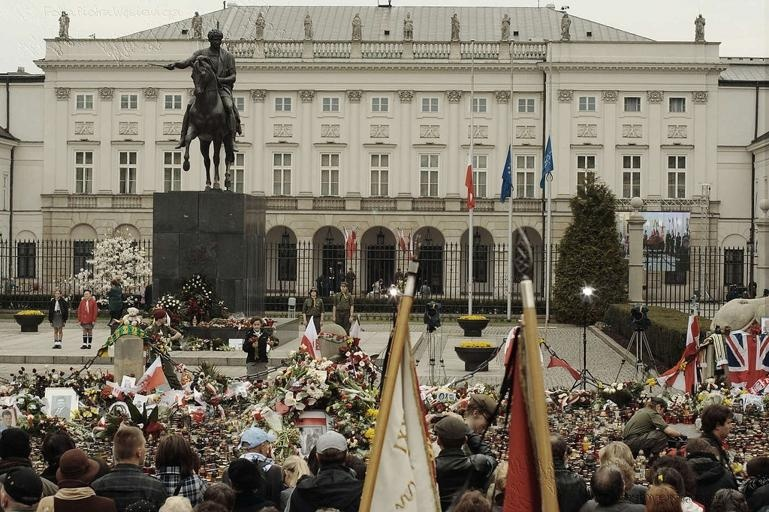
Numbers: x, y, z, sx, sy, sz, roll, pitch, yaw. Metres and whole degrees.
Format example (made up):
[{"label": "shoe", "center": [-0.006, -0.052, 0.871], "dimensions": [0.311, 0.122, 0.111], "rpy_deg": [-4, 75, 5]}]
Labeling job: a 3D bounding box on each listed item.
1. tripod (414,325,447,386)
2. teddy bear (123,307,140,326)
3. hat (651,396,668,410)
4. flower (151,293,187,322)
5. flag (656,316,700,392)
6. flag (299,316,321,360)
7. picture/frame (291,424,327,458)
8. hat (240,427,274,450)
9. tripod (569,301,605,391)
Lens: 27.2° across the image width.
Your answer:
[{"label": "tripod", "center": [2.144, 5.018, 77.308], "dimensions": [1.249, 2.745, 1.296], "rpy_deg": [0, -31, 3]}, {"label": "teddy bear", "center": [-11.287, 2.720, 70.446], "dimensions": [0.743, 0.804, 1.409], "rpy_deg": [2, -4, -10]}, {"label": "hat", "center": [11.368, 6.111, 65.852], "dimensions": [0.582, 0.211, 0.416], "rpy_deg": [31, 34, 11]}, {"label": "flower", "center": [-10.265, 2.654, 75.692], "dimensions": [1.335, 1.318, 0.914], "rpy_deg": [-5, -21, -25]}, {"label": "flag", "center": [13.490, 4.271, 70.752], "dimensions": [2.612, 3.877, 0.752], "rpy_deg": [8, -17, -4]}, {"label": "flag", "center": [-3.203, 3.524, 67.837], "dimensions": [0.808, 1.778, 2.423], "rpy_deg": [1, -4, -3]}, {"label": "picture/frame", "center": [-3.207, 7.792, 65.318], "dimensions": [1.161, 1.173, 2.104], "rpy_deg": [2, 24, 5]}, {"label": "hat", "center": [-5.176, 7.337, 63.620], "dimensions": [1.252, 0.831, 0.553], "rpy_deg": [2, -3, -8]}, {"label": "tripod", "center": [9.927, 4.023, 78.515], "dimensions": [1.759, 5.419, 1.615], "rpy_deg": [-2, 3, -28]}]
